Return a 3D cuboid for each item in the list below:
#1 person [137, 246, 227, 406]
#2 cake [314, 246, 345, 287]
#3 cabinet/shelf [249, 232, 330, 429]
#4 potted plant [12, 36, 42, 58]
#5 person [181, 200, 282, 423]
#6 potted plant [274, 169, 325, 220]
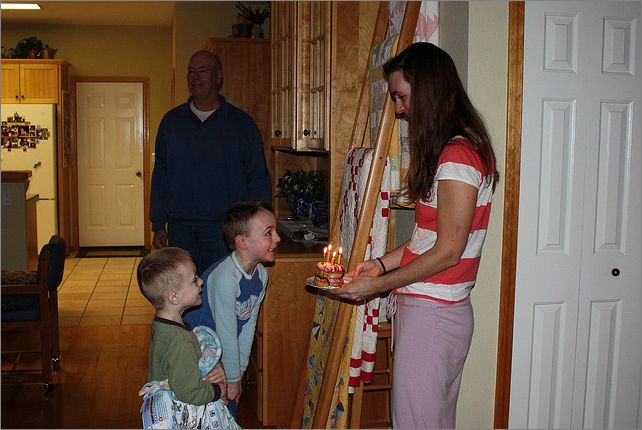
[{"bbox_3d":[-0.677,0.567,2.550,0.416,0.770,0.302,0,9,-5],"label":"person"},{"bbox_3d":[0.041,0.261,2.620,0.130,0.207,0.140,6,1,12],"label":"cake"},{"bbox_3d":[-0.196,0.738,3.328,0.407,1.099,1.089,7,3,2],"label":"cabinet/shelf"},{"bbox_3d":[-4.189,-2.392,7.686,0.381,0.332,0.254,-5,11,-32],"label":"potted plant"},{"bbox_3d":[-0.533,0.703,3.119,0.416,1.546,0.365,9,15,9],"label":"person"},{"bbox_3d":[-0.136,-0.193,4.780,0.420,0.563,0.410,-5,6,-44],"label":"potted plant"}]
